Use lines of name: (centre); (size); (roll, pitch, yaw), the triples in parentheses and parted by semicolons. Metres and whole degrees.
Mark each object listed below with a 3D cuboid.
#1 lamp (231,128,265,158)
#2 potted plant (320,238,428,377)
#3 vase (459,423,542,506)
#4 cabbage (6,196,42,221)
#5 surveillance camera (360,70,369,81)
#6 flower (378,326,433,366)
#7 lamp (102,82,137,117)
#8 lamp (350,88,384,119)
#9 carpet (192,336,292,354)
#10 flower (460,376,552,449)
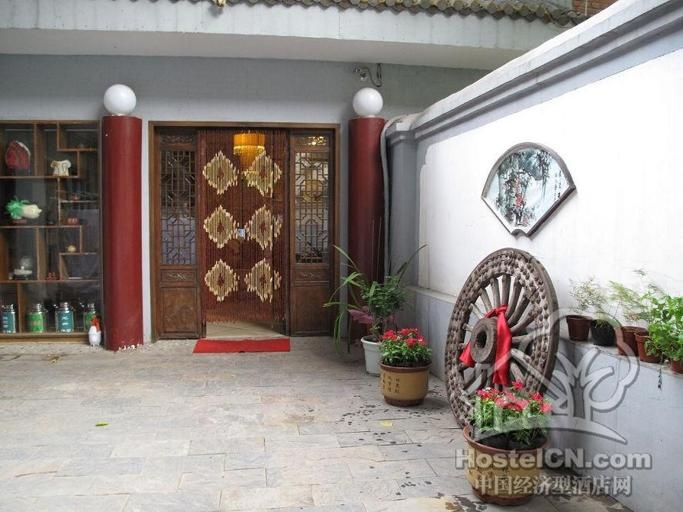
lamp: (-1.213, -1.450, 6.889); (0.297, 0.362, 0.309); (-1, -4, 7)
potted plant: (0.248, 0.473, 6.063); (1.245, 1.638, 1.200); (0, 2, -15)
vase: (1.004, 1.293, 3.346); (0.399, 0.304, 0.401); (3, -3, -29)
cabbage: (-3.924, -0.599, 6.562); (0.310, 0.289, 0.211); (2, 21, -5)
surveillance camera: (0.286, -2.284, 6.671); (0.074, 0.078, 0.101); (-1, -2, -13)
flower: (0.559, 0.803, 4.724); (0.436, 0.283, 0.358); (-1, 3, -1)
lamp: (-2.631, -1.867, 6.284); (0.344, 0.419, 0.363); (-2, 3, -21)
lamp: (0.364, -1.897, 6.478); (0.426, 0.411, 0.296); (-3, 4, -32)
carpet: (-1.221, 1.080, 6.531); (1.145, 0.074, 0.673); (-2, 3, -7)
flower: (1.075, 1.043, 3.406); (0.439, 0.342, 0.418); (-1, -10, 18)
